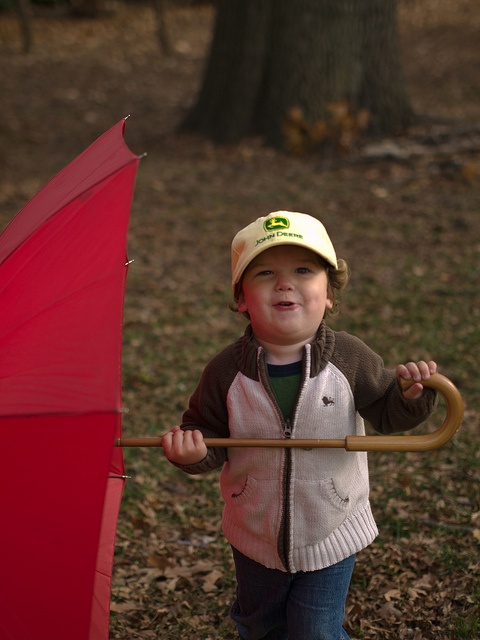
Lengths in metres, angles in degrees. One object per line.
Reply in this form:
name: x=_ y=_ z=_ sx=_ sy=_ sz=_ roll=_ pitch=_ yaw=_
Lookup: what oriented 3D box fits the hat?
hat: x=0.128 y=-0.255 z=2.580 sx=0.392 sy=0.187 sz=0.397 roll=-7 pitch=-8 yaw=-11
